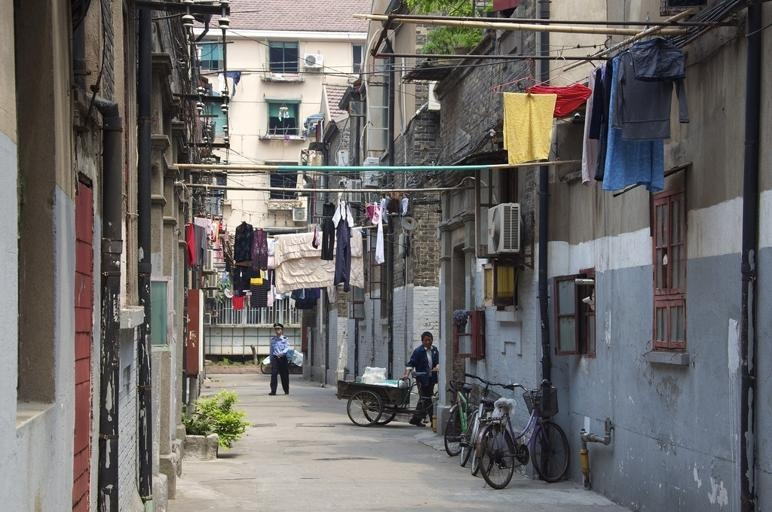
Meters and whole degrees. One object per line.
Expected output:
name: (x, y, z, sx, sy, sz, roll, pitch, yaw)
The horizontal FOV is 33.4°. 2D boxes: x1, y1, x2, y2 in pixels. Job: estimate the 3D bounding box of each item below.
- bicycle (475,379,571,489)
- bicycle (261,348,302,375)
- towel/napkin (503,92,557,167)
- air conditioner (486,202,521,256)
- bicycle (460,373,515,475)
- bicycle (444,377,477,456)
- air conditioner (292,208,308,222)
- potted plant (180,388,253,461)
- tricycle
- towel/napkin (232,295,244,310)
bicycle: (2.039, 2.690, 19.439, 1.527, 1.511, 0.667, 3, -5, -36)
bicycle: (-4.007, 3.877, 50.116, 1.803, 1.097, 1.346, 3, -10, -6)
towel/napkin: (1.966, -1.740, 17.831, 0.717, 1.050, 0.344, 2, -4, 6)
air conditioner: (1.876, -0.425, 20.953, 0.294, 0.851, 0.805, 2, -4, -15)
bicycle: (1.648, 2.828, 20.328, 0.660, 0.962, 1.490, 15, -4, 3)
bicycle: (1.293, 2.809, 21.971, 0.908, 1.342, 0.521, 2, 5, -5)
air conditioner: (-3.841, -1.870, 56.599, 0.444, 0.745, 0.639, 0, 8, -6)
potted plant: (-2.972, 2.846, 22.227, 1.096, 1.005, 1.555, 4, -5, -11)
tricycle: (-0.113, 2.983, 26.811, 1.701, 1.083, 1.155, -2, -3, 20)
towel/napkin: (-5.396, 1.665, 47.393, 0.579, 0.765, 0.639, 1, -3, -12)
